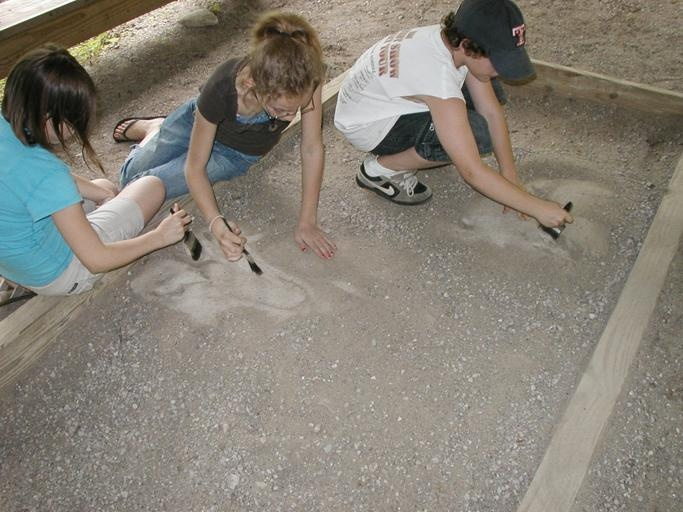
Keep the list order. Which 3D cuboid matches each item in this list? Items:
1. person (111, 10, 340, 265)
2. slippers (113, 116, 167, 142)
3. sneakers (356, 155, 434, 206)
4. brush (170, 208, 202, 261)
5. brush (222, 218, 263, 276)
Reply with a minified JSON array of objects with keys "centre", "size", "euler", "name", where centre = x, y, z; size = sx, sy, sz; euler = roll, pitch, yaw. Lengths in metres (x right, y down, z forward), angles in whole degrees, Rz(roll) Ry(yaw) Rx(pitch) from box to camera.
[{"centre":[-0.658,-0.681,2.996],"size":[1.061,1.431,1.077],"euler":[-7,40,-14],"name":"person"},{"centre":[-1.329,-0.818,3.366],"size":[0.424,0.200,0.103],"euler":[2,5,26],"name":"slippers"},{"centre":[0.296,-0.448,3.011],"size":[0.425,0.203,0.177],"euler":[19,55,3],"name":"sneakers"},{"centre":[-0.774,-0.137,2.767],"size":[0.062,0.279,0.159],"euler":[-28,15,-18],"name":"brush"},{"centre":[-0.464,-0.043,2.751],"size":[0.203,0.284,0.293],"euler":[-11,43,-16],"name":"brush"}]
